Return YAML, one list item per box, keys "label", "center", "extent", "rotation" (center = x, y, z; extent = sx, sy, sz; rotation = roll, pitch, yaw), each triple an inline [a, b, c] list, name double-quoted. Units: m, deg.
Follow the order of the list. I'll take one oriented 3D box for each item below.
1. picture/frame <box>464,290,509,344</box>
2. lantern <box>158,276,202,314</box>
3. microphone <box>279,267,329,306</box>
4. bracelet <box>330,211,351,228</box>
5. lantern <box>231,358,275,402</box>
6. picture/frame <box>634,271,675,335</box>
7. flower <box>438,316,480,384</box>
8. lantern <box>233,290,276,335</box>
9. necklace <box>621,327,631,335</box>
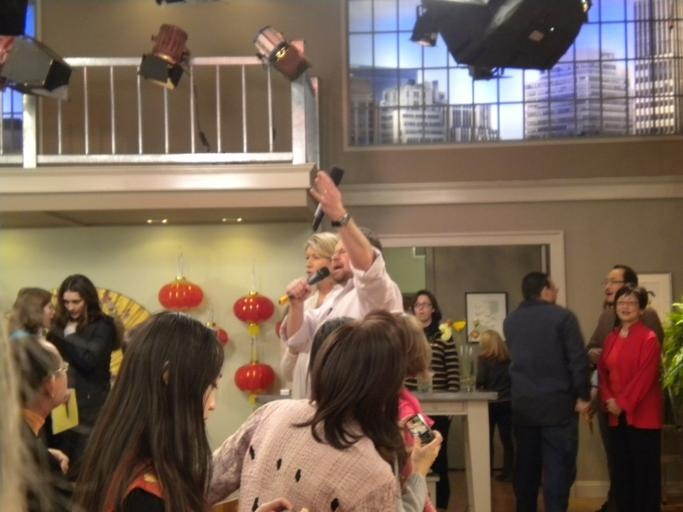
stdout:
- label: "picture/frame"
  center: [1.697, 0.732, 9.578]
  extent: [0.467, 0.655, 0.016]
  rotation: [-1, -28, 9]
- label: "lantern"
  center: [-1.629, 0.397, 8.231]
  extent: [0.482, 0.425, 0.470]
  rotation: [-3, 6, -26]
- label: "microphone"
  center: [-0.262, 0.216, 5.721]
  extent: [0.396, 0.110, 0.106]
  rotation: [-41, -26, -2]
- label: "bracelet"
  center: [-0.003, -0.200, 4.659]
  extent: [0.093, 0.076, 0.107]
  rotation: [-18, 3, 9]
- label: "lantern"
  center: [-0.858, 1.222, 8.016]
  extent: [0.327, 0.414, 0.356]
  rotation: [-2, -18, 9]
- label: "picture/frame"
  center: [2.855, 0.442, 7.431]
  extent: [0.451, 0.673, 0.025]
  rotation: [-1, -11, 2]
- label: "flower"
  center: [1.155, 0.895, 7.735]
  extent: [0.227, 0.568, 0.226]
  rotation: [-9, -7, 42]
- label: "lantern"
  center: [-0.867, 0.563, 8.081]
  extent: [0.362, 0.479, 0.394]
  rotation: [1, -8, -15]
- label: "necklace"
  center: [2.310, 0.614, 6.651]
  extent: [0.042, 0.054, 0.058]
  rotation: [-22, -50, 41]
